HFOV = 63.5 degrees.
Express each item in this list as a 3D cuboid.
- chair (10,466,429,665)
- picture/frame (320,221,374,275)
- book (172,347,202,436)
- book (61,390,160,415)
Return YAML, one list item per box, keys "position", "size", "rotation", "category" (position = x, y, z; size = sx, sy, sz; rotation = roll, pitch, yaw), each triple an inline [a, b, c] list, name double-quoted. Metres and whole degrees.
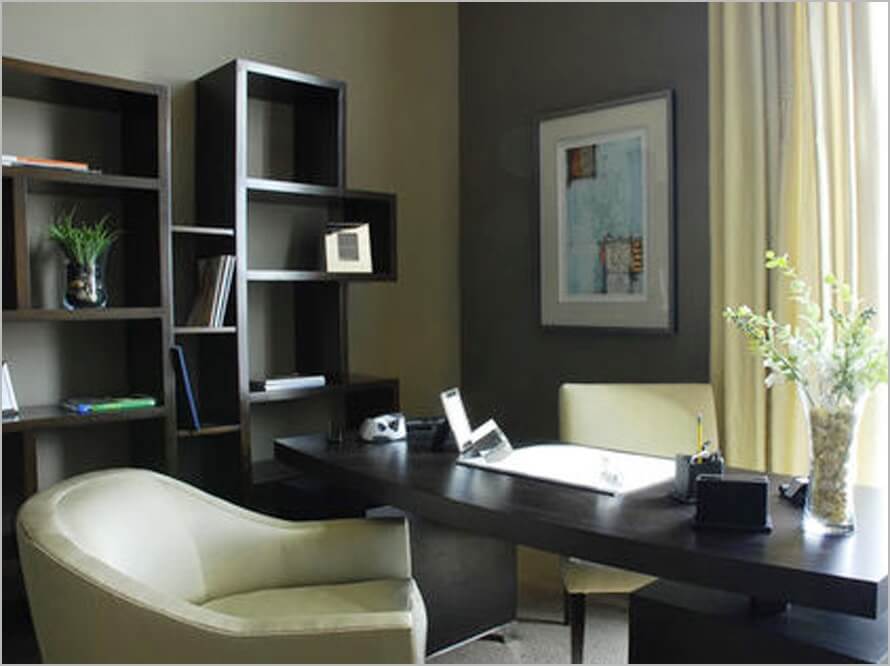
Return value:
- position: [-0.593, 0.659, 2.005]
  size: [0.895, 0.583, 0.698]
  rotation: [0, -1, -8]
  category: "chair"
- position: [-0.445, -0.399, 3.349]
  size: [0.271, 0.326, 0.033]
  rotation: [-2, -8, -31]
  category: "picture/frame"
- position: [-1.087, 0.213, 3.023]
  size: [0.083, 0.386, 0.401]
  rotation: [-7, 12, -20]
  category: "book"
- position: [-1.330, 0.261, 2.855]
  size: [0.334, 0.058, 0.317]
  rotation: [-9, 12, -29]
  category: "book"
